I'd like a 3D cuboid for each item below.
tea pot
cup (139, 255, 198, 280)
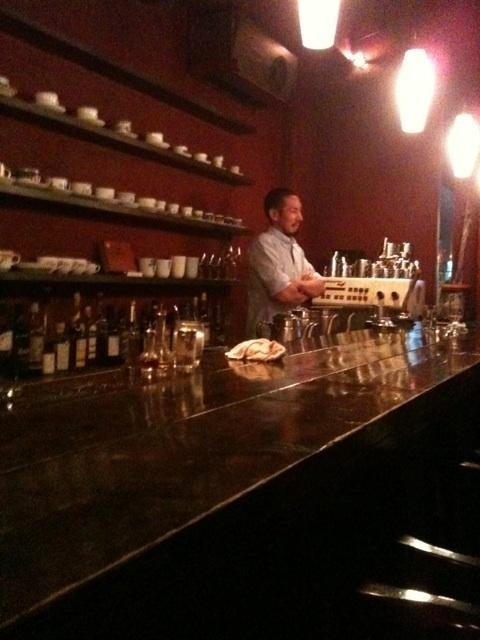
[{"bbox_3d":[0.362,0.023,2.676,0.707,0.247,0.179,-6,8,-38],"label":"tea pot"},{"bbox_3d":[-0.424,-0.318,2.919,0.273,0.100,0.163,0,1,-9],"label":"cup"}]
